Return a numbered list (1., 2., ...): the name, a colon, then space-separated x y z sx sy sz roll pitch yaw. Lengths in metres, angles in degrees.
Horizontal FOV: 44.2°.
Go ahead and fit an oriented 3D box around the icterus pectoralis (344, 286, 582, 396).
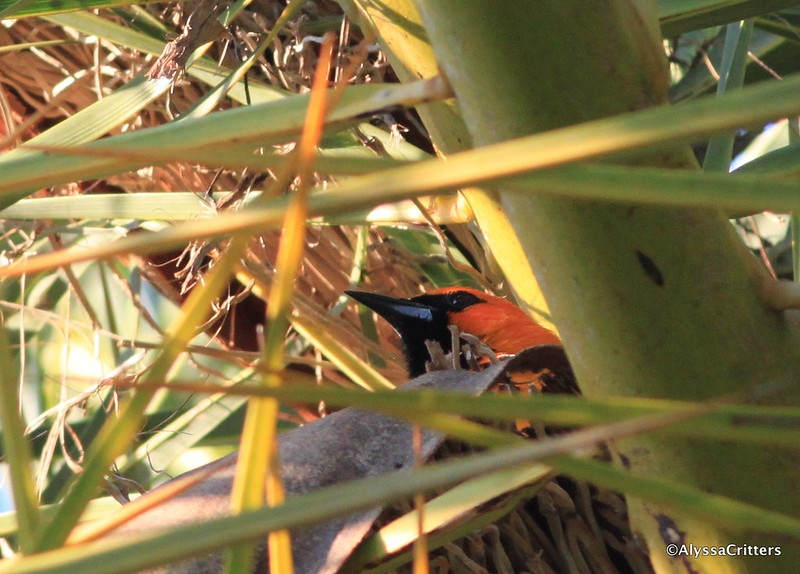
1. icterus pectoralis: 0.087 0.050 1.153 0.317 0.099 0.112 11 -16 -34
